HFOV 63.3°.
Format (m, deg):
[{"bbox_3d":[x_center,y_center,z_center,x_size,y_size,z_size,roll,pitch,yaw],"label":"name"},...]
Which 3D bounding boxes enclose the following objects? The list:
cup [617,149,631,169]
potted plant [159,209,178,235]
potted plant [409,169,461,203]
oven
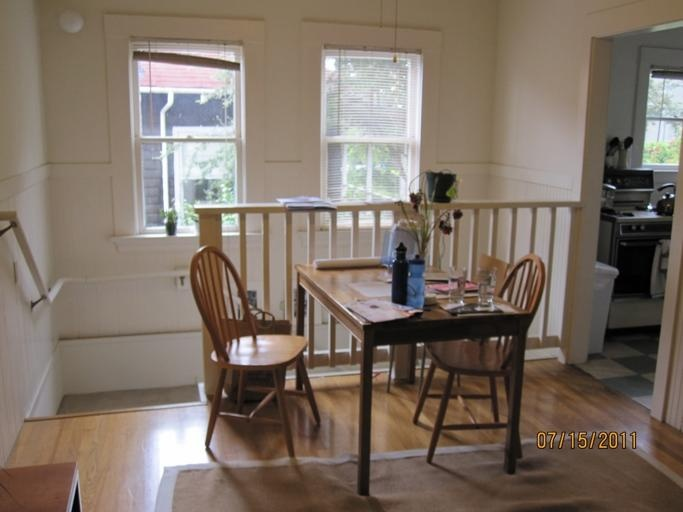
[{"bbox_3d":[2.701,-0.934,5.298,0.098,0.187,0.435,5,13,27],"label":"cup"},{"bbox_3d":[-1.564,-0.312,5.061,0.139,0.229,0.194,-5,12,-18],"label":"potted plant"},{"bbox_3d":[0.746,-0.525,4.172,0.248,0.258,0.313,-19,12,-30],"label":"potted plant"},{"bbox_3d":[2.724,0.063,4.892,0.458,0.689,0.493,18,-9,-33],"label":"oven"}]
